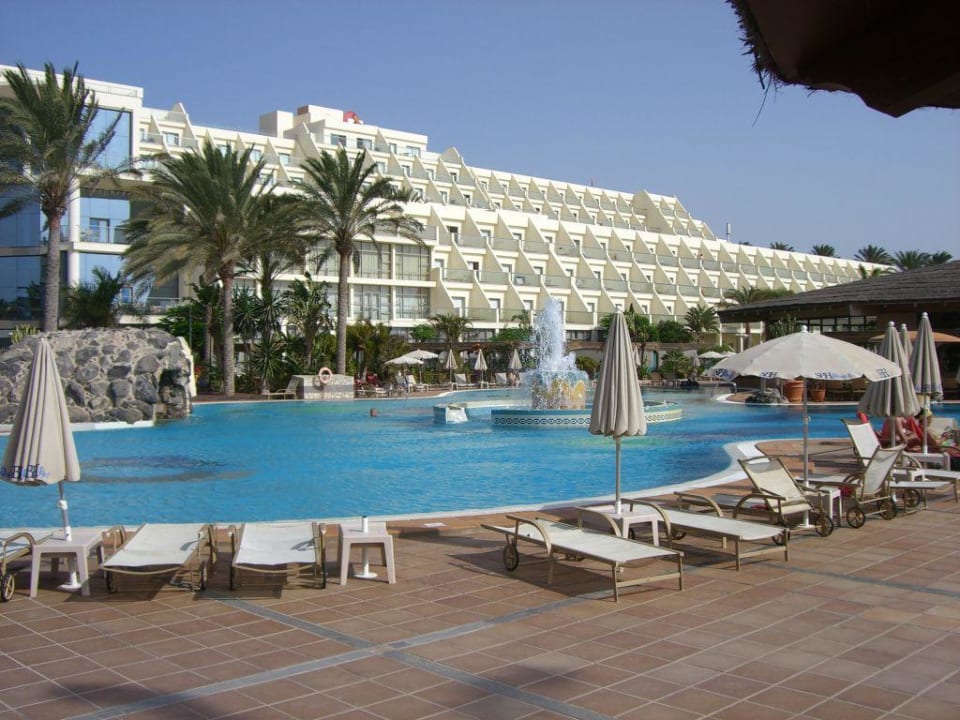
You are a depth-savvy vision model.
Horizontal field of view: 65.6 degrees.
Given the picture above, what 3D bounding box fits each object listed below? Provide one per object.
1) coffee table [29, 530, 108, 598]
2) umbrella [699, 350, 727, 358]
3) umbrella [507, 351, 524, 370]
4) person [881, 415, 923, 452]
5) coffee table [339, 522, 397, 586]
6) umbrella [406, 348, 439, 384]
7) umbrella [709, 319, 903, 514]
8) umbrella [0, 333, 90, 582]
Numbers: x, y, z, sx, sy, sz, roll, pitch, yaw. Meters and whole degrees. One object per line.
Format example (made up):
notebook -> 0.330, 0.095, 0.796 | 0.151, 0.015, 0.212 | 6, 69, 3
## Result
coffee table -> -3.646, 1.869, 6.518 | 0.535, 0.330, 0.768 | 1, -2, -13
umbrella -> 16.881, -0.442, 53.708 | 1.346, 0.368, 1.196 | -2, 3, -38
umbrella -> 2.255, 0.000, 46.020 | 1.205, 1.309, 1.086 | 1, -9, 1
person -> 6.869, 1.199, 12.056 | 0.815, 0.451, 1.054 | 2, 3, 37
coffee table -> -1.057, 1.675, 6.901 | 0.623, 0.488, 0.816 | -1, 3, -7
umbrella -> -3.738, 0.330, 43.642 | 2.466, 1.818, 2.198 | 0, 3, 0
umbrella -> 4.309, 0.637, 9.838 | 2.691, 1.834, 2.366 | 2, -2, -17
umbrella -> -3.922, 0.479, 6.632 | 0.585, 1.338, 0.338 | -1, -1, -28
